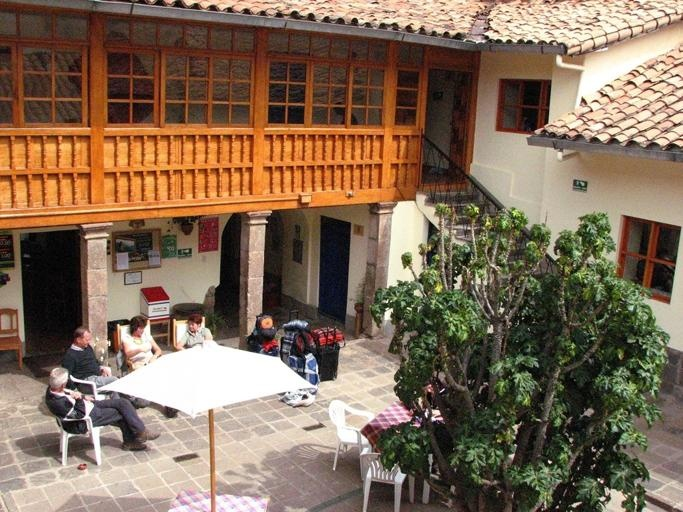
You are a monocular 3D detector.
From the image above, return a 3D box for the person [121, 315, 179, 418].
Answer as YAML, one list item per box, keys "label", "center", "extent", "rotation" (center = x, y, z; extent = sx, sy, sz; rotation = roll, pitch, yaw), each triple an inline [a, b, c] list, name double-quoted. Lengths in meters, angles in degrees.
- label: "person"
  center: [-3.356, 1.813, 8.685]
  extent: [0.905, 1.482, 0.803]
  rotation: [6, 3, 35]

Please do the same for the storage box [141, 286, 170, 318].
- label: "storage box"
  center: [-4.202, 1.036, 11.479]
  extent: [0.535, 0.636, 0.529]
  rotation: [-5, 10, -29]

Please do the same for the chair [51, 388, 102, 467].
- label: "chair"
  center: [-3.703, 2.463, 7.532]
  extent: [0.824, 0.888, 0.830]
  rotation: [-9, 16, -31]

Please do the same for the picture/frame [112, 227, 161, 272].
- label: "picture/frame"
  center: [-4.590, -0.166, 11.345]
  extent: [1.066, 0.813, 0.111]
  rotation: [-3, 7, -33]

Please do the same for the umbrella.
- label: "umbrella"
  center: [-1.457, 1.767, 5.941]
  extent: [2.058, 1.585, 1.839]
  rotation: [1, 22, -4]

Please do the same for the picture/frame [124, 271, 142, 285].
- label: "picture/frame"
  center: [-4.661, 0.481, 11.410]
  extent: [0.015, 0.233, 0.347]
  rotation: [9, 9, 43]

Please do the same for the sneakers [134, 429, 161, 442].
- label: "sneakers"
  center: [-2.945, 2.723, 7.848]
  extent: [0.378, 0.155, 0.123]
  rotation: [-5, 37, -45]

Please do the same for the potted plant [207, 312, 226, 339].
- label: "potted plant"
  center: [-3.064, 1.702, 12.591]
  extent: [0.578, 0.636, 0.530]
  rotation: [0, 2, -20]

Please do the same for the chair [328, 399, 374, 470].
- label: "chair"
  center: [0.120, 2.716, 7.680]
  extent: [0.787, 0.953, 0.779]
  rotation: [4, 19, 15]

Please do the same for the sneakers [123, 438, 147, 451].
- label: "sneakers"
  center: [-3.098, 2.821, 7.658]
  extent: [0.349, 0.218, 0.106]
  rotation: [-4, 27, -11]

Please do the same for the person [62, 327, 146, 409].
- label: "person"
  center: [-3.642, 1.795, 7.968]
  extent: [1.332, 1.317, 0.693]
  rotation: [2, 7, -16]

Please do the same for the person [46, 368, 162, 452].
- label: "person"
  center: [-3.459, 2.242, 7.422]
  extent: [1.401, 1.352, 0.625]
  rotation: [-8, 2, -33]
